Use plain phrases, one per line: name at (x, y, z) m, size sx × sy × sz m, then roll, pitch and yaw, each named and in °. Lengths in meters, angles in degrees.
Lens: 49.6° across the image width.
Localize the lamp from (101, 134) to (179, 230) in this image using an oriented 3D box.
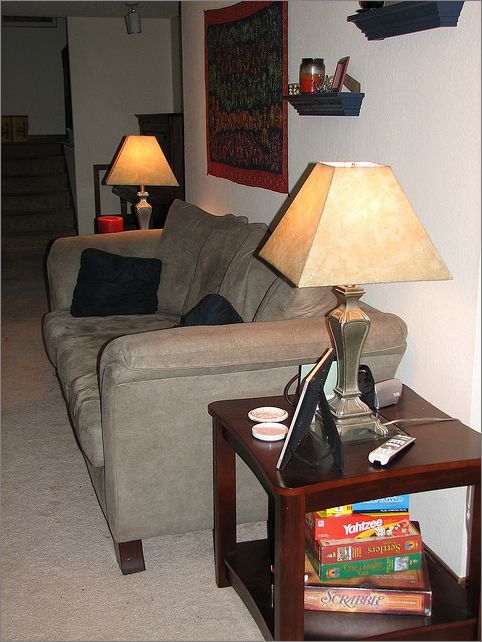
lamp at (-0.635, -0.865, 3.367) m, size 0.453 × 0.677 × 0.482 m, roll 9°, pitch 23°, yaw 15°

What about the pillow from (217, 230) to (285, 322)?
pillow at (0.029, -0.180, 2.073) m, size 0.148 × 0.336 × 0.330 m, roll 9°, pitch 27°, yaw -6°

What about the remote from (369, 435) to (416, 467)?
remote at (0.269, 0.225, 0.962) m, size 0.037 × 0.021 × 0.116 m, roll 8°, pitch 18°, yaw 35°

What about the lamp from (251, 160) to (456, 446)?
lamp at (0.197, -0.030, 0.969) m, size 0.281 × 0.540 × 0.230 m, roll -2°, pitch 9°, yaw -15°

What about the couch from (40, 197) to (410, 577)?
couch at (-0.299, 0.043, 2.250) m, size 0.904 × 0.849 × 1.897 m, roll -4°, pitch 18°, yaw -22°
